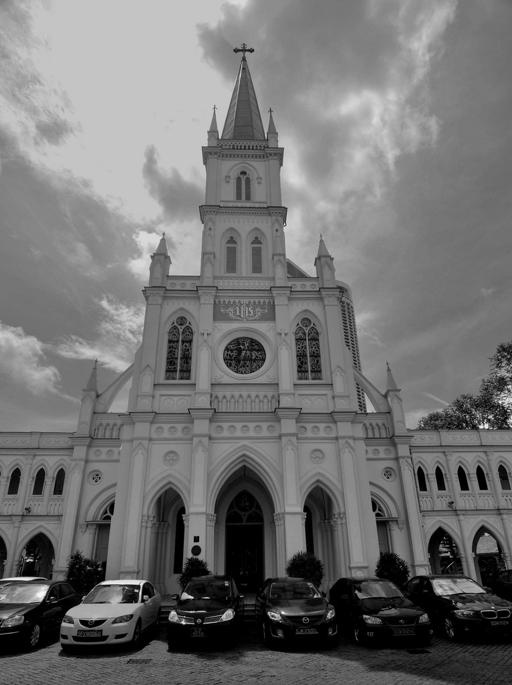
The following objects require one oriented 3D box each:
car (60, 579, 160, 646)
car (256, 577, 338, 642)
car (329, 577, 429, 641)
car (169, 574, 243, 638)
[{"bbox_3d":[-3.218,6.111,9.599,1.405,1.189,2.437,-3,-26,5],"label":"car"},{"bbox_3d":[0.828,6.250,9.923,1.033,0.841,2.504,2,-37,-4],"label":"car"},{"bbox_3d":[2.882,6.289,9.981,1.407,1.201,2.633,1,-26,-3],"label":"car"},{"bbox_3d":[-1.170,6.259,9.886,1.532,1.103,2.207,1,-26,-4],"label":"car"}]
